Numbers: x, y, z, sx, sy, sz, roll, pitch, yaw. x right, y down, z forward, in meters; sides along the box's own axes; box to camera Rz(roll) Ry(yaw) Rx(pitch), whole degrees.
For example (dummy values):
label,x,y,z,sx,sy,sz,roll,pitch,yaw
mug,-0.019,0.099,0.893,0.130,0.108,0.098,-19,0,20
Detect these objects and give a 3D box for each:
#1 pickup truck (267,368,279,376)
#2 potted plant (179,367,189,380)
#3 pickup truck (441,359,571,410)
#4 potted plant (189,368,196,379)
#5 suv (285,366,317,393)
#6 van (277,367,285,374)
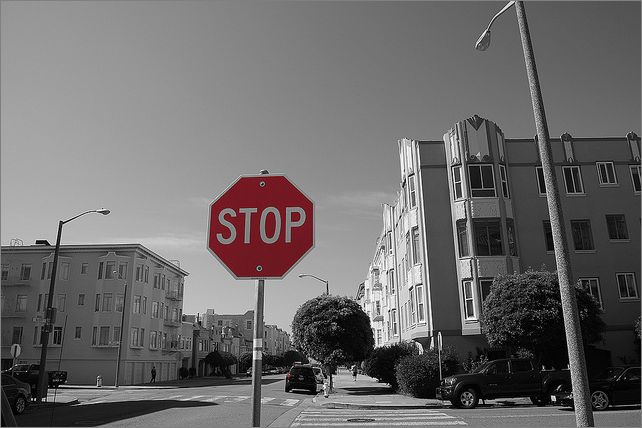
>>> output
label,x,y,z,sx,sy,sz,roll,pitch,yaw
pickup truck,-9.051,29.461,94.356,1.594,1.347,3.014,2,-7,-3
potted plant,-18.258,21.013,66.656,0.492,1.277,1.502,-6,-18,13
pickup truck,9.667,8.982,27.093,5.727,2.168,2.892,1,-27,1
potted plant,-17.884,21.873,69.660,0.615,1.346,1.342,-3,-18,3
suv,-1.489,12.368,38.155,2.223,1.748,0.924,-2,-17,1
van,-7.664,30.474,98.130,1.461,1.311,2.371,1,-11,-1
